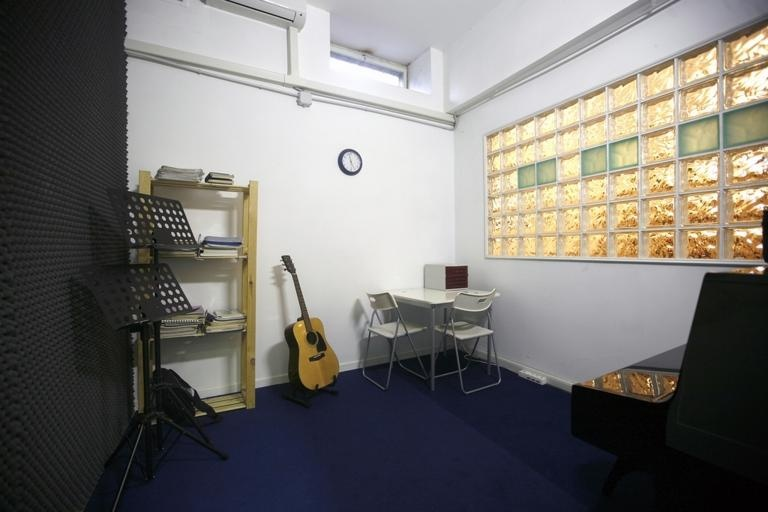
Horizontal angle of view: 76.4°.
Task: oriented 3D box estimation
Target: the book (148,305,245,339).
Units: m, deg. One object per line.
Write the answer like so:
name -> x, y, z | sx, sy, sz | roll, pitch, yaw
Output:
book -> -1.636, 0.582, 4.455 | 0.728, 0.241, 0.175 | -3, 5, -23

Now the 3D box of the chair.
chair -> 0.636, 0.738, 5.211 | 1.124, 0.795, 1.128 | 3, -4, -32

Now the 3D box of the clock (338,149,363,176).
clock -> -0.379, -1.024, 5.334 | 0.291, 0.307, 0.042 | 2, -7, -34

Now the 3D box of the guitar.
guitar -> -0.706, 0.663, 4.745 | 0.502, 1.336, 0.422 | -2, 4, -13
